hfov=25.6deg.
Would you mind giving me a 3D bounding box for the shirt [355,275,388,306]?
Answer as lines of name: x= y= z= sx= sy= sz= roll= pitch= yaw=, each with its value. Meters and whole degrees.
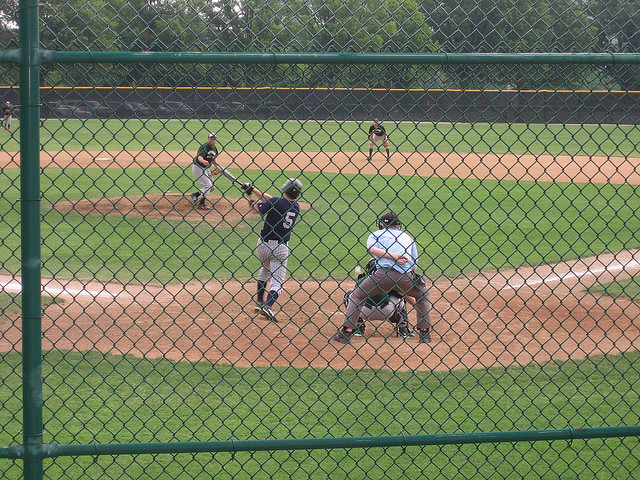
shirt: x=0.742 y=0.720 z=20.007 sx=0.474 sy=0.481 sz=0.561 roll=8 pitch=8 yaw=1
